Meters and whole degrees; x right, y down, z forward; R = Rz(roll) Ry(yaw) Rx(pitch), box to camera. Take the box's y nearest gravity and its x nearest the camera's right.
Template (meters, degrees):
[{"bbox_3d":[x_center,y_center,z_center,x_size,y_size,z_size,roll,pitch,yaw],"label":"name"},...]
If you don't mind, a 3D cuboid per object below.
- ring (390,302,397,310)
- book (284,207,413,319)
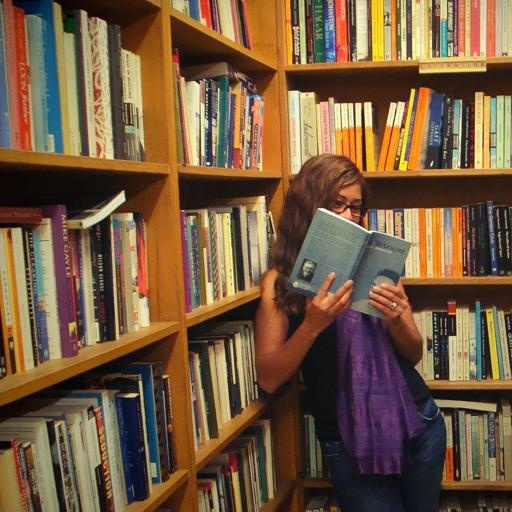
[{"bbox_3d":[0.377,0.137,1.476,0.015,0.007,0.020,2,-82,-15],"label":"ring"},{"bbox_3d":[0.260,0.028,1.429,0.291,0.066,0.230,15,-101,22],"label":"book"}]
